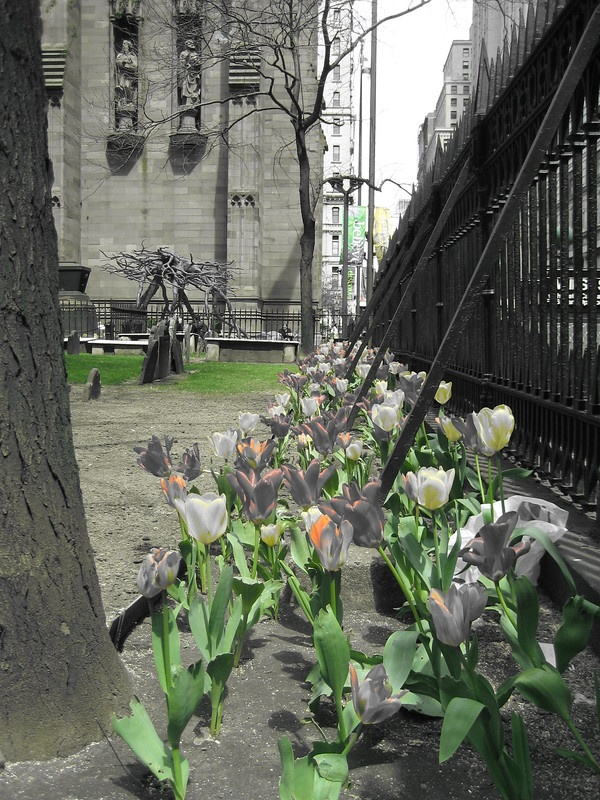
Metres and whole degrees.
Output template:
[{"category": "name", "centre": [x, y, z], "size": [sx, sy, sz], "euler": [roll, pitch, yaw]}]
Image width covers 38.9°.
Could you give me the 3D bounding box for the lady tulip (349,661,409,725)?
[{"category": "lady tulip", "centre": [0.139, 0.546, 1.626], "size": [0.092, 0.120, 0.153], "euler": [6, 9, 4]}]
